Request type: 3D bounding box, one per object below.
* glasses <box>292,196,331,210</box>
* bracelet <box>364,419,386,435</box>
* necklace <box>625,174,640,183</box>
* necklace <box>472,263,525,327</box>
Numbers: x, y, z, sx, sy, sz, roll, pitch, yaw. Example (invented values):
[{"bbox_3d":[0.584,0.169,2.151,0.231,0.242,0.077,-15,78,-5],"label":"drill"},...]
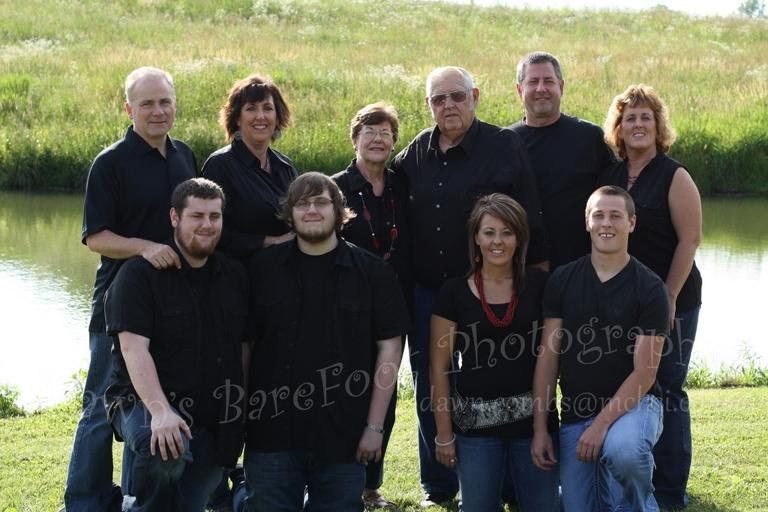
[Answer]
[{"bbox_3d":[-0.670,-0.511,8.539,0.350,0.129,0.077,-3,5,-7],"label":"glasses"},{"bbox_3d":[-0.083,1.622,8.575,0.130,0.131,0.122,15,-41,-11],"label":"bracelet"},{"bbox_3d":[2.530,-0.801,9.186,0.083,0.021,0.086,-41,38,-24],"label":"necklace"},{"bbox_3d":[1.118,0.396,8.727,0.361,0.535,0.094,-4,-17,-6],"label":"necklace"}]
